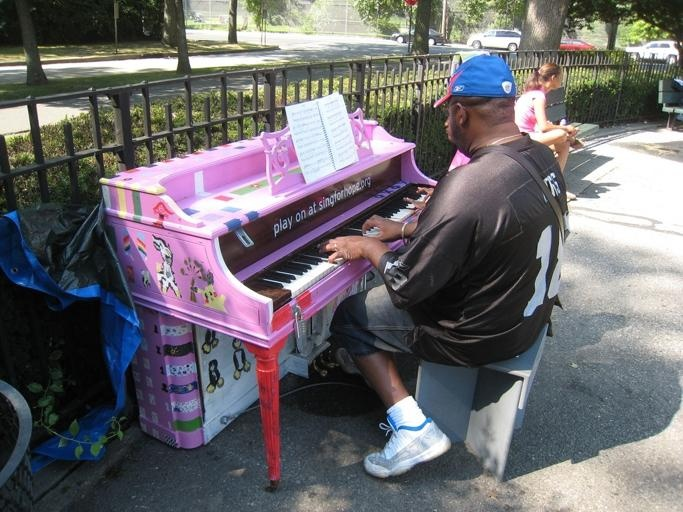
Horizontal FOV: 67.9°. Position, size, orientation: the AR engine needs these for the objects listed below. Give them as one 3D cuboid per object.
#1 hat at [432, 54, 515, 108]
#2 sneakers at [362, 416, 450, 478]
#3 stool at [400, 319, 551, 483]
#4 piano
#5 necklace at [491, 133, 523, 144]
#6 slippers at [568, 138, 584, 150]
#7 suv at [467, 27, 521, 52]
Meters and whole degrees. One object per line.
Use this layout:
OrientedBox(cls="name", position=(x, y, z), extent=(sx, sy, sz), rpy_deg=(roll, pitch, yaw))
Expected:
OrientedBox(cls="hat", position=(0.815, -1.073, 3.042), extent=(0.441, 0.263, 0.246), rpy_deg=(1, 19, 13))
OrientedBox(cls="sneakers", position=(0.444, 1.265, 3.351), extent=(0.550, 0.235, 0.215), rpy_deg=(-8, 22, -21))
OrientedBox(cls="stool", position=(0.874, 0.878, 3.762), extent=(0.948, 0.932, 1.117), rpy_deg=(13, 22, 26))
OrientedBox(cls="piano", position=(-1.080, 0.177, 4.230), extent=(1.672, 2.291, 3.226), rpy_deg=(19, 27, 31))
OrientedBox(cls="necklace", position=(0.978, -0.703, 3.025), extent=(0.088, 0.025, 0.100), rpy_deg=(-19, 12, 8))
OrientedBox(cls="slippers", position=(3.648, -1.758, 7.888), extent=(0.208, 0.089, 0.222), rpy_deg=(32, 35, 28))
OrientedBox(cls="suv", position=(12.620, -17.523, 40.944), extent=(2.195, 1.595, 5.703), rpy_deg=(-7, 20, -10))
